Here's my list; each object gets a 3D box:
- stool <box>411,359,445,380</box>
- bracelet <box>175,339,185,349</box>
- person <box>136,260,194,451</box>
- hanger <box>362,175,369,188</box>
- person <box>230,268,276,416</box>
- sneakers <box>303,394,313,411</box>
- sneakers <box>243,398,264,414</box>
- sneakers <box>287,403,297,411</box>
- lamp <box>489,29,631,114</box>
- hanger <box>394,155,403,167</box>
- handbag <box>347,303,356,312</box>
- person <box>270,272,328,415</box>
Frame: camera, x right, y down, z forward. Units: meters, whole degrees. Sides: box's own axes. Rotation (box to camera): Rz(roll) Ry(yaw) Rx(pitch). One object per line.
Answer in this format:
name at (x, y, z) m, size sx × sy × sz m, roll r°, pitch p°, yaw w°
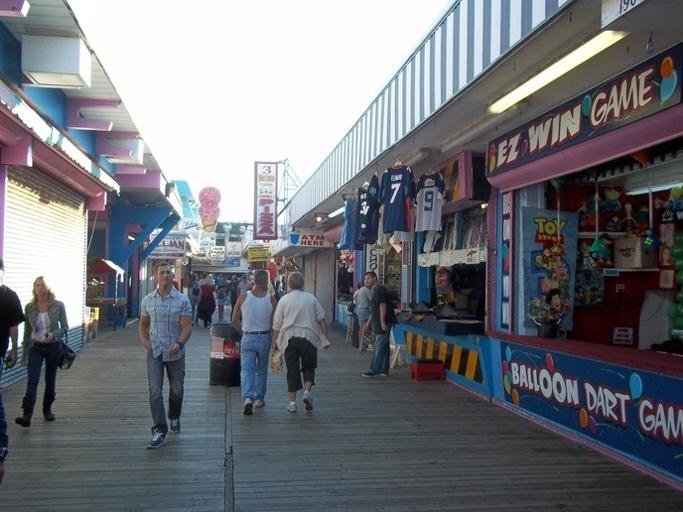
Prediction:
stool at (1.499, 1.953, 9.923) m, size 0.524 × 0.320 × 0.385 m, roll 1°, pitch -1°, yaw -14°
bracelet at (-1.773, 0.980, 6.357) m, size 0.079 × 0.065 × 0.094 m, roll 1°, pitch 6°, yaw 7°
person at (-1.961, 1.068, 6.444) m, size 0.514 × 1.987 × 0.507 m, roll 1°, pitch -1°, yaw -23°
hanger at (0.490, -1.447, 11.172) m, size 0.154 × 0.238 × 0.069 m, roll 7°, pitch 6°, yaw 41°
person at (-1.248, 1.123, 7.850) m, size 0.596 × 1.877 × 0.637 m, roll 0°, pitch -1°, yaw 33°
sneakers at (-0.443, 1.939, 7.676) m, size 0.091 × 0.309 × 0.122 m, roll -3°, pitch 9°, yaw 10°
sneakers at (-1.166, 1.992, 7.689) m, size 0.113 × 0.170 × 0.366 m, roll 1°, pitch -3°, yaw 3°
sneakers at (-0.647, 2.003, 7.701) m, size 0.126 × 0.133 × 0.179 m, roll 1°, pitch -1°, yaw -6°
lamp at (2.329, -1.868, 5.924) m, size 0.200 × 0.113 × 1.402 m, roll 25°, pitch -22°, yaw -21°
hanger at (0.969, -1.610, 9.714) m, size 0.100 × 0.183 × 0.176 m, roll 2°, pitch -11°, yaw -7°
handbag at (0.249, 1.241, 13.637) m, size 0.150 × 0.307 × 0.225 m, roll 2°, pitch -8°, yaw 6°
person at (-0.553, 1.149, 7.804) m, size 0.751 × 1.856 × 0.407 m, roll 1°, pitch -1°, yaw -8°
